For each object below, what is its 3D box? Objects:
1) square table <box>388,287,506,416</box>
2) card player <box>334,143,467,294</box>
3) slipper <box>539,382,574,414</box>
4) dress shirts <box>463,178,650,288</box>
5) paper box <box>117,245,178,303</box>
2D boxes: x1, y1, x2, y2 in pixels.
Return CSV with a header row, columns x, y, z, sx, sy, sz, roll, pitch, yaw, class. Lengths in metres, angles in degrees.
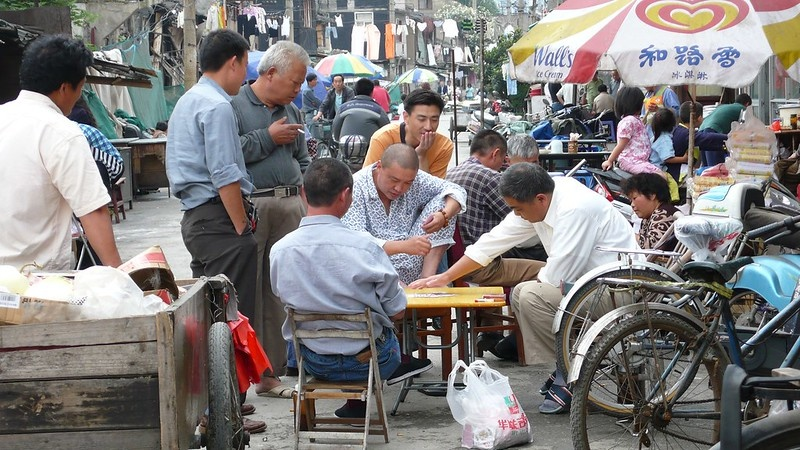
x,y,z,sx,sy,sz,roll,pitch,yaw,class
0.437,1.101,7.130,1.146,0.995,1.106,0,3,-6,square table
0.071,-0.235,7.514,1.271,1.322,1.219,-12,29,-16,card player
1.352,1.496,6.912,0.153,0.160,0.368,-6,0,32,slipper
1.338,0.082,7.452,1.522,0.941,0.876,-16,16,-2,dress shirts
-1.826,0.369,5.875,0.457,0.411,0.317,-6,11,-32,paper box
